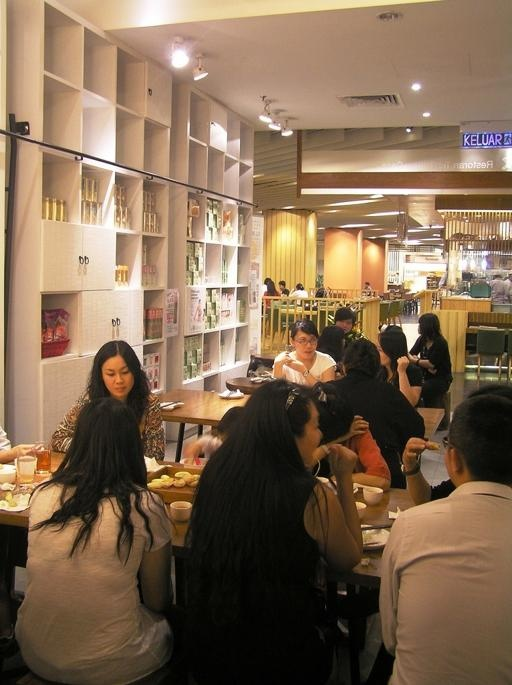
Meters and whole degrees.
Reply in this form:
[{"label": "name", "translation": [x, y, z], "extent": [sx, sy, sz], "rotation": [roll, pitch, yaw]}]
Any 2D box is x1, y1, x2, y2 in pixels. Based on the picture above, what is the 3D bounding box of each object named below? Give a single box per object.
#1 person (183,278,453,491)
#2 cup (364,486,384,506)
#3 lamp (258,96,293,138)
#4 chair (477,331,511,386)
[{"label": "person", "translation": [0.505, 0.216, 3.757], "extent": [1.160, 1.948, 0.841], "rotation": [-15, 12, -40]}, {"label": "cup", "translation": [0.461, 0.596, 2.045], "extent": [0.063, 0.046, 0.066], "rotation": [-1, -4, 0]}, {"label": "lamp", "translation": [0.250, -2.927, 6.907], "extent": [0.239, 0.313, 0.816], "rotation": [-3, -3, 31]}, {"label": "chair", "translation": [4.745, 0.210, 10.594], "extent": [0.549, 0.962, 1.885], "rotation": [-1, 1, 25]}]
